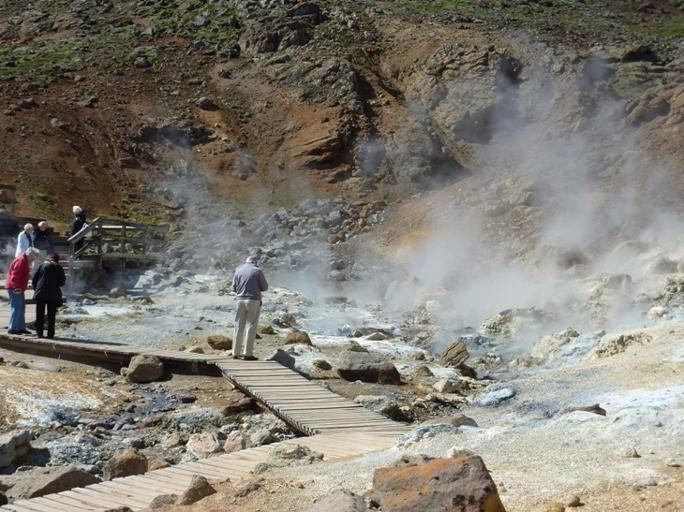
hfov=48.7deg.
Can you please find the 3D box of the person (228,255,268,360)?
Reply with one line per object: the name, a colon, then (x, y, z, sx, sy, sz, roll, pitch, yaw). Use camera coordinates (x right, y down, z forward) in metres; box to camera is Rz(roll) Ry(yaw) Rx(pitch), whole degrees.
person: (-1.673, 0.920, 13.605, 0.693, 1.884, 0.764, -4, 11, -5)
